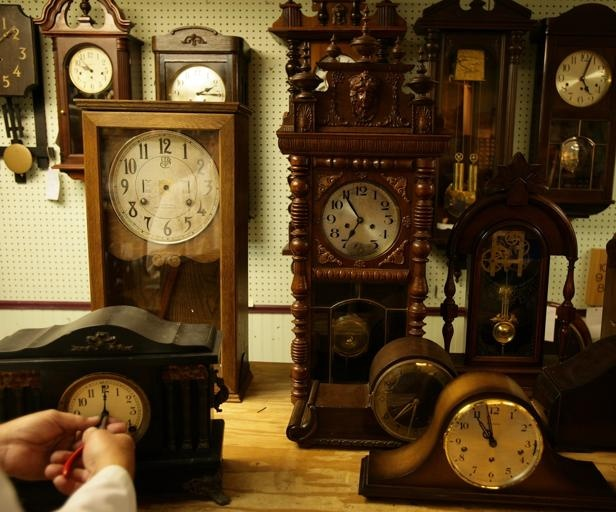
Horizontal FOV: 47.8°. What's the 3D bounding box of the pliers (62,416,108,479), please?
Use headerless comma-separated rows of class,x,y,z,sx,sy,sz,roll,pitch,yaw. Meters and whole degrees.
pliers,-0.622,0.548,2.025,0.044,0.215,0.062,42,-23,-12
